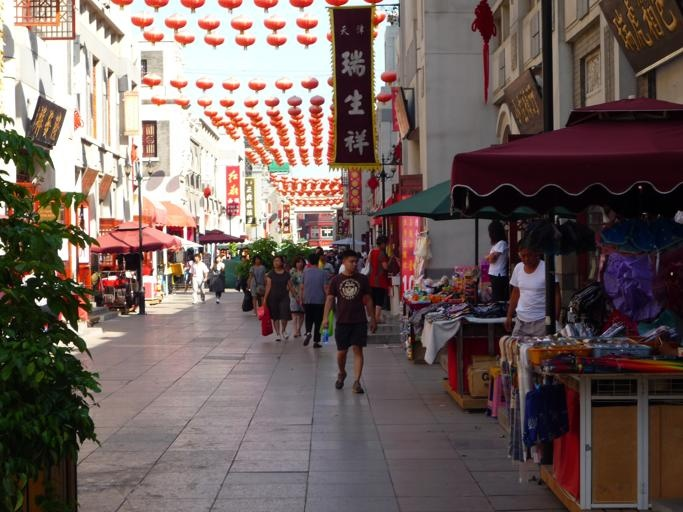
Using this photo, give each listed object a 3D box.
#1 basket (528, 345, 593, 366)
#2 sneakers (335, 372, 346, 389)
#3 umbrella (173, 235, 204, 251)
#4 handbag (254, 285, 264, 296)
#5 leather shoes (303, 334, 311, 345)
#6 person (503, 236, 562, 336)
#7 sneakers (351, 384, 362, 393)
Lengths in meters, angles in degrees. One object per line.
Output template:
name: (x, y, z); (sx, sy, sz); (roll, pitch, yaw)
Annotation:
basket: (2.038, 0.950, 7.870); (0.572, 0.195, 0.310); (0, 3, 16)
sneakers: (-0.028, 1.893, 13.221); (0.096, 0.355, 0.120); (5, -11, 21)
umbrella: (-7.554, -0.578, 41.462); (1.250, 0.521, 1.366); (5, -3, 2)
handbag: (-2.352, 0.988, 24.030); (0.214, 0.258, 0.230); (-1, 6, -4)
leather shoes: (-0.761, 1.860, 18.359); (0.092, 0.296, 0.113); (11, 27, -11)
person: (2.624, 0.471, 11.388); (0.646, 1.184, 1.372); (-1, 2, -14)
sneakers: (0.254, 2.002, 12.829); (0.153, 0.157, 0.172); (-1, 2, 1)
